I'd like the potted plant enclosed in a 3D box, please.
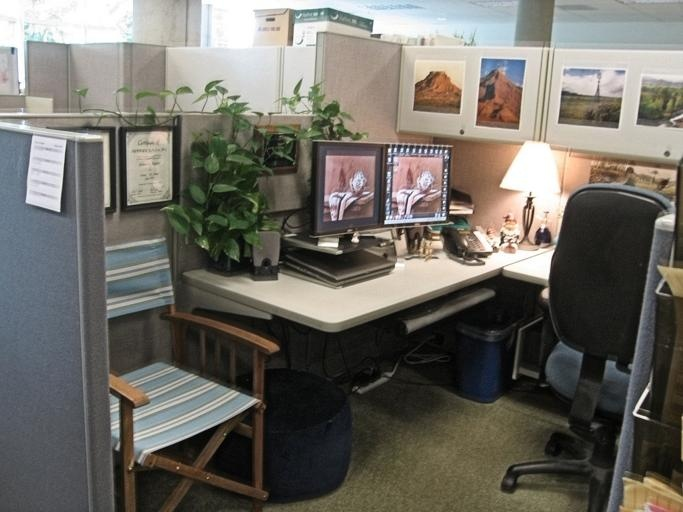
[{"bbox_3d":[-0.563,-0.361,2.676,1.109,0.756,0.960,7,8,33],"label":"potted plant"}]

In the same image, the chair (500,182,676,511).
[{"bbox_3d":[1.015,0.370,2.319,0.447,1.338,0.451,13,19,38],"label":"chair"}]

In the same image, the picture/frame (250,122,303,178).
[{"bbox_3d":[-0.304,-0.496,2.589,0.037,0.278,0.331,6,4,44],"label":"picture/frame"}]

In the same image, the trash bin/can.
[{"bbox_3d":[0.806,0.572,3.347,0.410,0.463,0.590,7,11,36],"label":"trash bin/can"}]

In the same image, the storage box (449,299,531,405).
[{"bbox_3d":[0.808,0.560,3.383,0.433,0.531,0.595,10,16,36],"label":"storage box"}]

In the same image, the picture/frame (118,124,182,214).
[{"bbox_3d":[-0.765,-0.358,2.250,0.038,0.365,0.336,17,21,41],"label":"picture/frame"}]

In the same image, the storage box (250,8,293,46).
[{"bbox_3d":[-0.372,-1.261,3.113,0.295,0.245,0.115,7,9,40],"label":"storage box"}]

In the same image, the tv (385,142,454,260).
[{"bbox_3d":[0.394,-0.281,2.883,0.611,0.580,0.068,-8,17,-39],"label":"tv"}]

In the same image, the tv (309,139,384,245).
[{"bbox_3d":[0.021,-0.297,2.587,0.054,0.471,0.515,9,9,42],"label":"tv"}]

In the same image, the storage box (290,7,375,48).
[{"bbox_3d":[-0.029,-1.181,2.936,0.429,0.207,0.379,0,14,-4],"label":"storage box"}]
